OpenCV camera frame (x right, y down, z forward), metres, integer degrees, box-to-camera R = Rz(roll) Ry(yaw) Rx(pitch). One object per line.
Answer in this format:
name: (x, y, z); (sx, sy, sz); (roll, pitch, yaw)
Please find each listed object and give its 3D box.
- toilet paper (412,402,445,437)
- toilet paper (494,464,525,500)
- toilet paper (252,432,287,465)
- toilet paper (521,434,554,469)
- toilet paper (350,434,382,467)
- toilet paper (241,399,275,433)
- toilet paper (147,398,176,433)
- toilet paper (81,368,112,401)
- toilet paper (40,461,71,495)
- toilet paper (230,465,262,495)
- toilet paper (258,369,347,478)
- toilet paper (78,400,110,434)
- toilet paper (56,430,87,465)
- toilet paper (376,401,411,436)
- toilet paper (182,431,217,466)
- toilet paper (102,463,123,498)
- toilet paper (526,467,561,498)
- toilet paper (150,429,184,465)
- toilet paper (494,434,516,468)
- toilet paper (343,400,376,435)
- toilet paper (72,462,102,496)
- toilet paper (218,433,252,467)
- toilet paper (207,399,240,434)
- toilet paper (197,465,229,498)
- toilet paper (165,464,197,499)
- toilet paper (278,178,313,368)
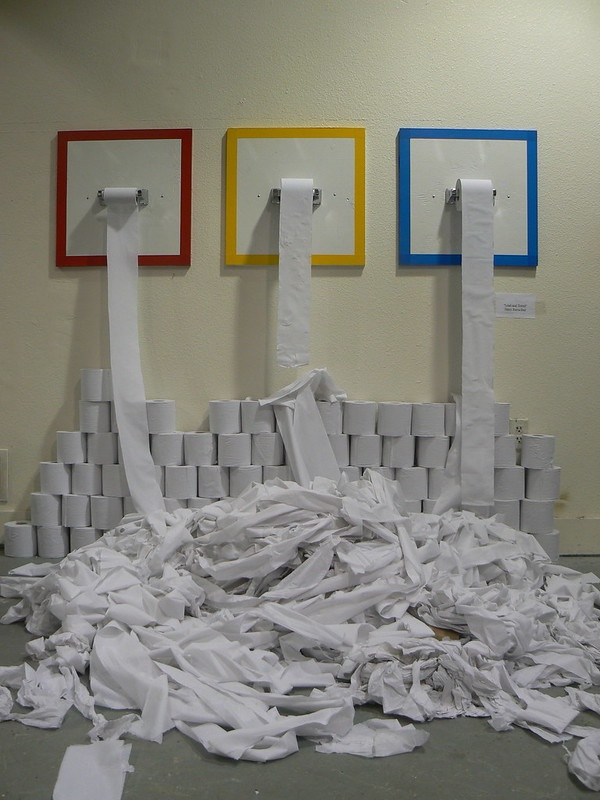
toilet paper: (0.454, 0.072, 3.103); (0.125, 0.112, 0.114); (0, -6, -1)
toilet paper: (0.753, 0.299, 3.115); (0.119, 0.115, 0.113); (0, 2, 17)
toilet paper: (-0.116, 0.177, 3.111); (0.115, 0.112, 0.111); (0, 1, -16)
toilet paper: (0.857, 0.190, 3.141); (0.120, 0.121, 0.114); (1, 3, 27)
toilet paper: (0.234, 0.181, 3.053); (0.114, 0.109, 0.115); (1, -1, 6)
toilet paper: (-0.153, 0.059, 3.116); (0.118, 0.113, 0.117); (1, 3, -5)
toilet paper: (-0.497, 0.062, 3.095); (0.116, 0.117, 0.111); (6, 11, 31)
toilet paper: (-0.738, -0.053, 3.122); (0.117, 0.111, 0.115); (-1, 4, -20)
toilet paper: (-0.891, 0.288, 3.208); (0.120, 0.121, 0.119); (7, 6, 36)
toilet paper: (-0.186, 0.278, 3.041); (0.112, 0.111, 0.108); (0, 2, 0)
toilet paper: (0.089, 0.094, 3.019); (0.271, 0.418, 0.120); (-8, 17, 29)
toilet paper: (-0.741, 0.065, 3.196); (0.120, 0.118, 0.115); (1, 2, 0)
toilet paper: (-0.862, 0.178, 3.169); (0.151, 0.125, 0.076); (3, 3, 32)
toilet paper: (0.339, 0.068, 3.100); (0.124, 0.109, 0.114); (1, 4, 2)
toilet paper: (-0.355, 0.174, 3.122); (0.120, 0.111, 0.114); (4, 3, 42)
toilet paper: (-0.670, 0.294, 3.106); (0.111, 0.115, 0.111); (2, -4, -26)
toilet paper: (0.871, 0.302, 3.146); (0.116, 0.114, 0.115); (2, -5, -10)
toilet paper: (-0.469, 0.172, 3.145); (0.117, 0.117, 0.114); (-3, 7, -33)
toilet paper: (0.732, 0.190, 3.120); (0.109, 0.110, 0.106); (1, -2, -1)
toilet paper: (0.215, 0.067, 3.115); (0.119, 0.111, 0.118); (2, -1, -4)
toilet paper: (-0.801, 0.293, 3.193); (0.120, 0.117, 0.115); (1, 2, -17)
toilet paper: (-0.227, 0.182, 3.100); (0.117, 0.115, 0.115); (1, 1, -34)
toilet paper: (-0.265, 0.063, 3.058); (0.120, 0.123, 0.115); (0, -1, 0)
toilet paper: (-0.304, 0.294, 3.115); (0.119, 0.116, 0.110); (0, 3, -15)
toilet paper: (-0.419, 0.288, 3.049); (0.117, 0.115, 0.114); (0, 2, 5)
toilet paper: (-0.018, -0.455, 3.080); (0.112, 0.670, 0.082); (2, 3, -3)
